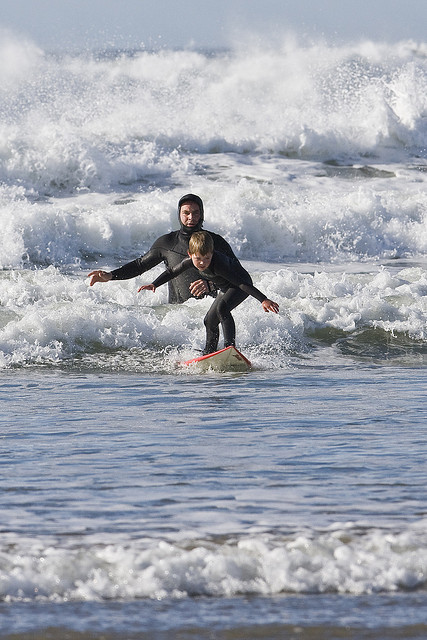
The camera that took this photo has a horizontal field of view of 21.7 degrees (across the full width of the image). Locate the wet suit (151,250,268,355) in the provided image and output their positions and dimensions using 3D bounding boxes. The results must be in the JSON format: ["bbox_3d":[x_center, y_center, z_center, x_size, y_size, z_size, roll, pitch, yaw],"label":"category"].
[{"bbox_3d":[0.123,-0.106,8.616,0.514,0.881,0.742,0,9,-1],"label":"wet suit"}]

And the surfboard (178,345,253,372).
[{"bbox_3d":[0.050,0.323,8.687,0.176,0.057,0.531,37,-33,-27],"label":"surfboard"}]
